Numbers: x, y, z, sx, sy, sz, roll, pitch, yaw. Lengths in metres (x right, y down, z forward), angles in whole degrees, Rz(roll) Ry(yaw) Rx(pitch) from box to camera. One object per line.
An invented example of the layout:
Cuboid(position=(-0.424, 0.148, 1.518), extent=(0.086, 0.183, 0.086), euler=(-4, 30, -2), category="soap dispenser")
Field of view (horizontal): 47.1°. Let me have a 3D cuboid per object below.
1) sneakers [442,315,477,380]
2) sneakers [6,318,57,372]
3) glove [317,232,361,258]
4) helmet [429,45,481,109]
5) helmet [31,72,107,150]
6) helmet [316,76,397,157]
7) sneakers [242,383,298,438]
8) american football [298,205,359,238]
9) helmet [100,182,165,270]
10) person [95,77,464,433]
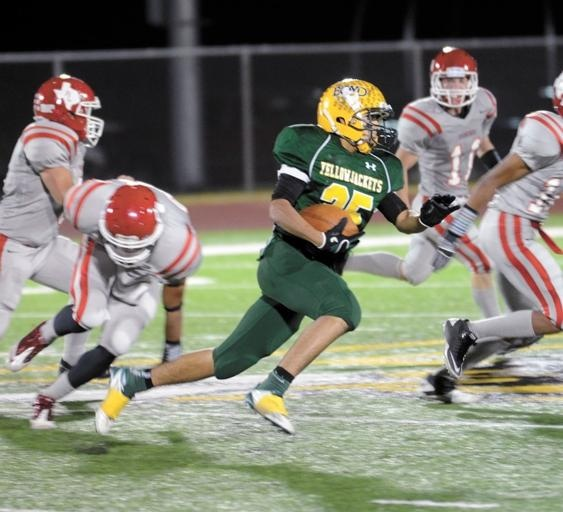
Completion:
Cuboid(position=(0.917, 0.440, 3.154), extent=(0.273, 0.273, 0.127), euler=(2, 5, 33), category="sneakers")
Cuboid(position=(-1.161, 0.412, 2.986), extent=(0.149, 0.360, 0.112), euler=(44, 33, -29), category="sneakers")
Cuboid(position=(0.223, -0.046, 2.513), extent=(0.109, 0.048, 0.135), euler=(27, 30, 18), category="glove")
Cuboid(position=(1.133, -1.175, 4.200), extent=(0.346, 0.280, 0.354), euler=(-2, 32, 8), category="helmet")
Cuboid(position=(-1.081, -0.747, 3.291), extent=(0.390, 0.249, 0.250), euler=(10, 8, -14), category="helmet")
Cuboid(position=(0.303, -0.611, 2.736), extent=(0.438, 0.241, 0.231), euler=(3, 25, -7), category="helmet")
Cuboid(position=(-0.016, 0.587, 2.476), extent=(0.309, 0.106, 0.097), euler=(26, 1, 24), category="sneakers")
Cuboid(position=(0.182, -0.140, 2.533), extent=(0.212, 0.081, 0.133), euler=(11, 4, -19), category="american football")
Cuboid(position=(-0.585, -0.120, 2.518), extent=(0.242, 0.324, 0.206), euler=(-4, 6, -23), category="helmet")
Cuboid(position=(0.009, -0.032, 2.578), extent=(1.319, 1.414, 0.441), euler=(-3, 6, -12), category="person")
